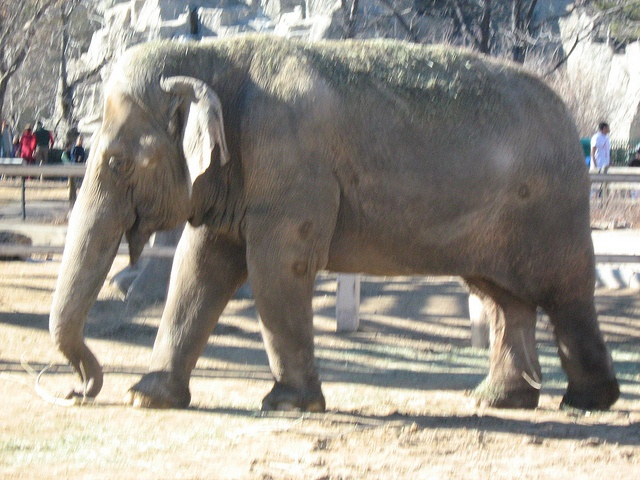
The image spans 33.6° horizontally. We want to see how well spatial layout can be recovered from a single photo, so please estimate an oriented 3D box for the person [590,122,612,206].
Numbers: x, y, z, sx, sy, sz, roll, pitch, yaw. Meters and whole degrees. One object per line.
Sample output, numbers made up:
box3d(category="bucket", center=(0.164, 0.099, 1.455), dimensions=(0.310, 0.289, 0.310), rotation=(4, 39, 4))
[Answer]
box3d(category="person", center=(3.091, -0.886, 11.756), dimensions=(0.184, 0.879, 0.319), rotation=(13, 23, 40))
